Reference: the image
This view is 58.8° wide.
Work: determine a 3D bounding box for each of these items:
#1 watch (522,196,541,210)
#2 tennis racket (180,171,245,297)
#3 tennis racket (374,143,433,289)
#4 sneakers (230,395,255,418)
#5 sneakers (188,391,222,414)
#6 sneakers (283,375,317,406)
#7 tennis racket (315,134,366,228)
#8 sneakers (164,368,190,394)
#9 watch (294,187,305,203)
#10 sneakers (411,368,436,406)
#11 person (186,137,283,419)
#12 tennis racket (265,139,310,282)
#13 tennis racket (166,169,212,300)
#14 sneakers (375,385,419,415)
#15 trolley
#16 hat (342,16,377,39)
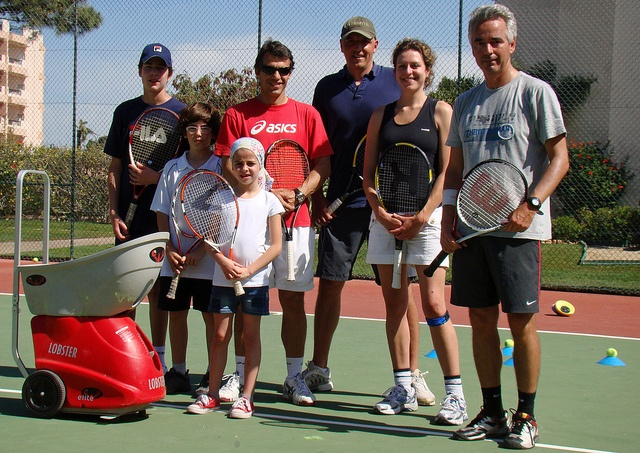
[{"bbox_3d":[1.446,-0.149,3.873,0.092,0.069,0.095,24,-14,3],"label":"watch"},{"bbox_3d":[-0.851,-0.040,4.497,0.394,1.120,0.105,-18,-8,-30],"label":"tennis racket"},{"bbox_3d":[0.642,-0.138,4.605,0.408,1.202,0.109,7,9,24],"label":"tennis racket"},{"bbox_3d":[-0.581,1.364,4.329,0.239,0.167,0.126,-1,4,-35],"label":"sneakers"},{"bbox_3d":[-0.876,1.370,4.392,0.105,0.133,0.269,-4,-13,43],"label":"sneakers"},{"bbox_3d":[-0.173,1.356,4.673,0.119,0.190,0.368,1,-4,-29],"label":"sneakers"},{"bbox_3d":[0.281,-0.418,4.987,0.046,0.905,0.368,21,-25,35],"label":"tennis racket"},{"bbox_3d":[-1.212,1.330,4.837,0.106,0.166,0.318,-4,-11,30],"label":"sneakers"},{"bbox_3d":[-0.169,-0.248,4.732,0.069,0.126,0.105,-14,11,-31],"label":"watch"},{"bbox_3d":[0.864,1.370,4.746,0.117,0.156,0.327,-2,-5,-6],"label":"sneakers"},{"bbox_3d":[-0.605,0.372,4.460,0.460,2.122,0.722,3,4,31],"label":"person"},{"bbox_3d":[-0.286,-0.112,5.033,0.382,1.418,0.080,-5,28,-7],"label":"tennis racket"},{"bbox_3d":[-1.113,0.019,4.602,0.069,1.074,0.377,7,-8,39],"label":"tennis racket"},{"bbox_3d":[0.616,1.374,4.514,0.393,0.231,0.161,5,-10,-31],"label":"sneakers"},{"bbox_3d":[-1.808,0.527,4.520,1.046,1.928,0.794,-1,-5,3],"label":"trolley"},{"bbox_3d":[0.335,-1.744,4.965,0.290,0.189,0.314,1,4,1],"label":"hat"}]
